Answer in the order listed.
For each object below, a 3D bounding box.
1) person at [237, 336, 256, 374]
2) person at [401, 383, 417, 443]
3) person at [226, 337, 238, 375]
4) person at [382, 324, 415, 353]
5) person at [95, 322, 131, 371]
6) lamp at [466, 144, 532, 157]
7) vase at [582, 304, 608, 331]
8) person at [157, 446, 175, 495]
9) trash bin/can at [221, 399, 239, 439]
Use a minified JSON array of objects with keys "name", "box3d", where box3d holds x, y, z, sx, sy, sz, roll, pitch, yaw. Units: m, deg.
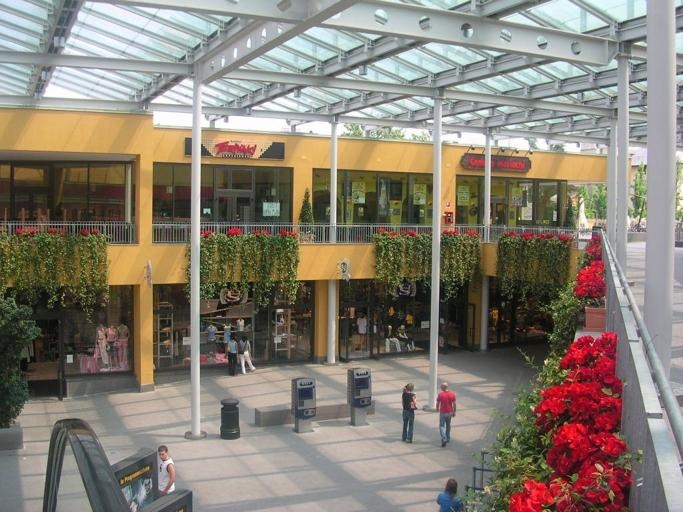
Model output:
[{"name":"person","box3d":[-3.602,3.710,24.472,0.616,1.401,1.256,2,5,7]},{"name":"person","box3d":[1.823,4.193,17.220,0.316,1.663,0.578,2,5,4]},{"name":"person","box3d":[-4.052,3.765,23.991,0.372,1.312,1.128,1,5,-10]},{"name":"person","box3d":[2.406,3.678,28.302,1.196,0.802,1.177,0,3,-10]},{"name":"person","box3d":[-7.889,3.137,22.056,1.112,1.587,0.361,-1,5,-26]},{"name":"lamp","box3d":[7.485,-4.907,30.080,4.198,0.463,0.561,-2,6,-37]},{"name":"vase","box3d":[4.571,1.127,11.568,0.408,0.306,0.403,0,3,5]},{"name":"person","box3d":[-3.420,4.204,12.558,0.298,0.907,0.575,0,5,-18]},{"name":"trash bin/can","box3d":[-2.984,4.403,17.288,0.519,1.053,0.392,1,5,-10]}]
